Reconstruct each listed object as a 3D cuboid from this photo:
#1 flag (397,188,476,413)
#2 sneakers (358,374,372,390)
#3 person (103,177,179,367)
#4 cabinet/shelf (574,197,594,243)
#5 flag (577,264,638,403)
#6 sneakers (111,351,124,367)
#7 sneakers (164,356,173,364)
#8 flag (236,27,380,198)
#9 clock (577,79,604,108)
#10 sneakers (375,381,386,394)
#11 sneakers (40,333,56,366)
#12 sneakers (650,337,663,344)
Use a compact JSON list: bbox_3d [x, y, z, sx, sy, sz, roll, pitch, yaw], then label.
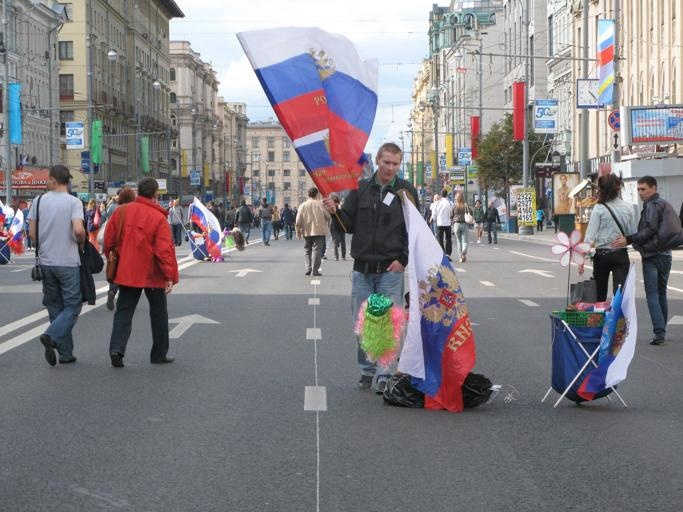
[{"bbox_3d":[0.843,0.386,6.853,0.662,1.889,0.524,-1,5,11],"label":"flag"},{"bbox_3d":[0.241,1.239,7.492,0.068,0.103,0.225,1,-22,5],"label":"sneakers"},{"bbox_3d":[-2.246,0.193,8.772,0.788,2.147,0.799,5,6,4],"label":"person"},{"bbox_3d":[12.287,-1.773,38.343,1.172,2.098,1.244,2,3,18],"label":"cabinet/shelf"},{"bbox_3d":[2.350,0.750,6.769,0.405,1.447,0.169,-11,39,-13],"label":"flag"},{"bbox_3d":[-2.494,1.150,8.579,0.132,0.179,0.249,-4,6,-18],"label":"sneakers"},{"bbox_3d":[-1.992,1.213,8.900,0.110,0.089,0.042,-8,19,-25],"label":"sneakers"},{"bbox_3d":[-0.166,-1.252,6.550,0.201,1.424,1.444,2,12,44],"label":"flag"},{"bbox_3d":[10.961,-7.114,33.787,1.101,1.300,0.124,-1,9,-2],"label":"clock"},{"bbox_3d":[0.381,1.242,7.202,0.081,0.125,0.035,-1,-13,34],"label":"sneakers"},{"bbox_3d":[-3.289,1.063,8.642,0.103,0.328,0.146,-11,0,-9],"label":"sneakers"},{"bbox_3d":[4.169,1.129,10.109,0.067,0.079,0.168,-1,-7,1],"label":"sneakers"}]
